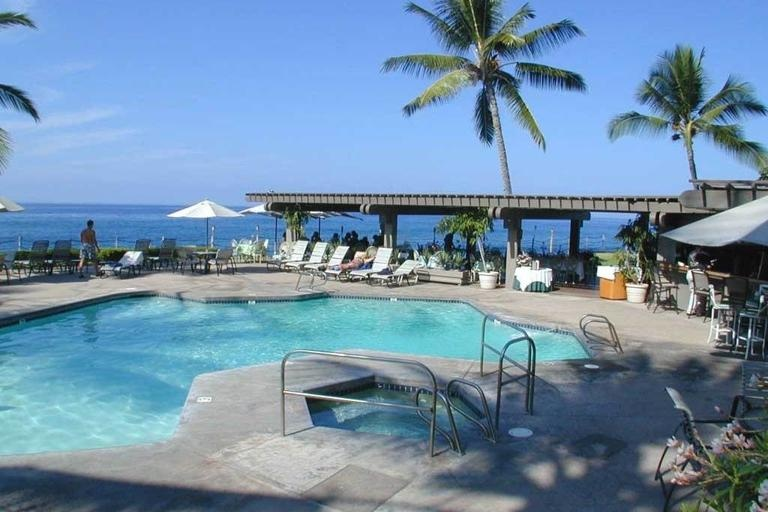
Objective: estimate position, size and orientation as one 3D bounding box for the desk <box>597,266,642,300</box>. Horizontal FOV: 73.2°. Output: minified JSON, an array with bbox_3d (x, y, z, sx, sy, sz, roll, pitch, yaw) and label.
[{"bbox_3d":[7.478,0.854,16.705,1.046,1.056,1.111,1,-1,-18],"label":"desk"}]

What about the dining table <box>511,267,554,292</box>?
[{"bbox_3d":[5.077,0.804,17.765,0.964,0.519,0.935,-2,2,-33],"label":"dining table"}]

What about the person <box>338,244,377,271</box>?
[{"bbox_3d":[-0.955,0.099,20.678,1.069,0.940,2.765,1,1,9],"label":"person"}]

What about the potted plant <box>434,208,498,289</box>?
[{"bbox_3d":[3.318,-0.889,19.892,2.832,2.874,2.285,-1,0,10],"label":"potted plant"}]
